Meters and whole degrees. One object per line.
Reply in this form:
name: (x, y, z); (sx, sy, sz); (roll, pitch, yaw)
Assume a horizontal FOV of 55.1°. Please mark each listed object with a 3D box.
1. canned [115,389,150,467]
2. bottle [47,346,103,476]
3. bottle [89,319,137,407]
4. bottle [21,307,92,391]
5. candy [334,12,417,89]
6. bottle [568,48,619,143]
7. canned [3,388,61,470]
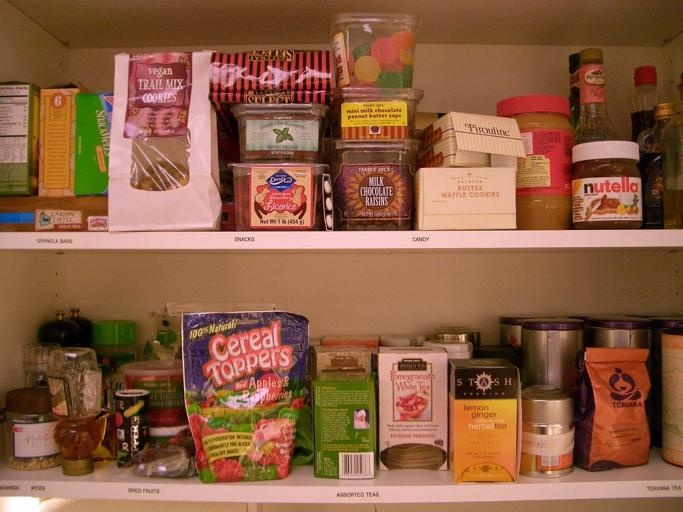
canned: (-0.529, 0.437, 1.660); (0.099, 0.175, 0.100); (-5, -7, 6)
bottle: (-0.666, 0.384, 1.636); (0.122, 0.303, 0.090); (-1, -2, -20)
bottle: (-0.671, 0.319, 1.893); (0.134, 0.238, 0.138); (2, -3, 0)
bottle: (-0.786, 0.241, 1.805); (0.186, 0.312, 0.187); (4, -1, 0)
candy: (0.112, -0.585, 1.741); (0.235, 0.207, 0.300); (5, 35, 9)
bottle: (0.647, -0.409, 1.692); (0.110, 0.173, 0.205); (-2, -1, 20)
canned: (-0.773, 0.447, 1.732); (0.174, 0.188, 0.172); (0, 0, -3)
